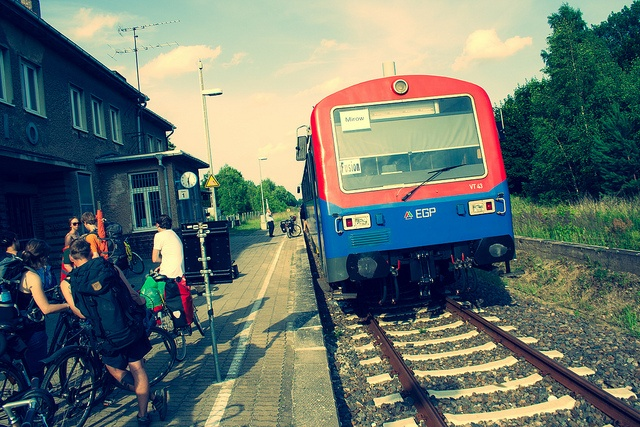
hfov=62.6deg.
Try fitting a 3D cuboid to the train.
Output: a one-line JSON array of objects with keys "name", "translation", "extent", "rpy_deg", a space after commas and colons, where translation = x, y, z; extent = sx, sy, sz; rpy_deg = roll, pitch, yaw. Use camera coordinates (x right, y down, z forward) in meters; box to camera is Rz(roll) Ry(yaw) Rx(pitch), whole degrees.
[{"name": "train", "translation": [1.811, -0.810, 12.453], "extent": [3.784, 3.763, 9.436], "rpy_deg": [-7, 4, -1]}]

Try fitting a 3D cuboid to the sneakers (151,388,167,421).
[{"name": "sneakers", "translation": [-2.833, 3.337, 9.294], "extent": [0.246, 0.558, 0.180], "rpy_deg": [2, -10, -35]}]

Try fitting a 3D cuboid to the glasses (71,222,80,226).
[{"name": "glasses", "translation": [-6.014, 0.261, 12.946], "extent": [0.118, 0.081, 0.178], "rpy_deg": [-9, 0, 42]}]

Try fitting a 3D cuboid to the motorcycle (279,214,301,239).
[{"name": "motorcycle", "translation": [-1.656, 0.841, 32.447], "extent": [0.898, 1.107, 1.820], "rpy_deg": [-4, -5, -14]}]

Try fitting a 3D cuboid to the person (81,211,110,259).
[{"name": "person", "translation": [-5.707, 0.543, 13.343], "extent": [0.311, 1.278, 0.362], "rpy_deg": [-7, 33, -12]}]
